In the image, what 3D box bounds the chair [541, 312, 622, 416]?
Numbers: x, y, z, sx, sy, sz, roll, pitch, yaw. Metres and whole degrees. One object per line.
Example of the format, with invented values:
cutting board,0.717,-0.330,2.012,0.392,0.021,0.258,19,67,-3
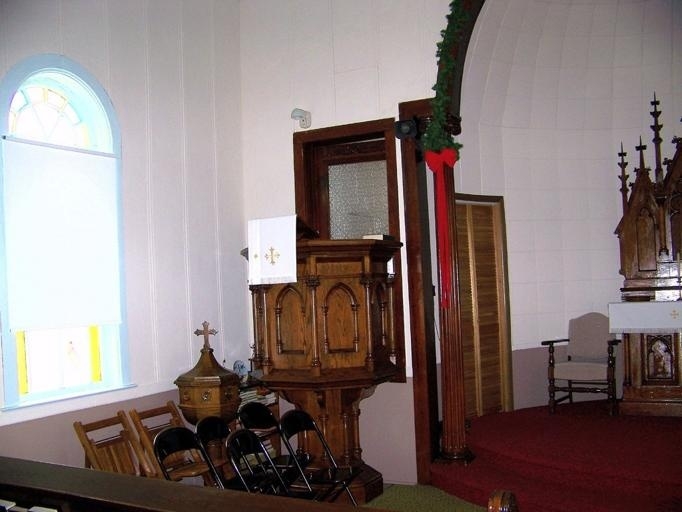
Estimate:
chair,3.025,1.313,7.403,0.860,1.018,1.032,-3,1,25
